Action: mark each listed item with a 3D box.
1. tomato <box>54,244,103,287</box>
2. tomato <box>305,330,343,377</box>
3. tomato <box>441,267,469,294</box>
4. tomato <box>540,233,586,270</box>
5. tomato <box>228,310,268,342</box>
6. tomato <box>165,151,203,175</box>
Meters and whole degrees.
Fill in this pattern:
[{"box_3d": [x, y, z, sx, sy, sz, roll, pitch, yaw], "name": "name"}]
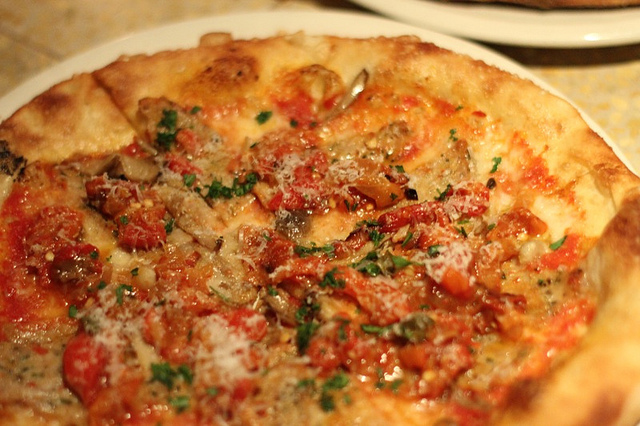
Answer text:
[{"box_3d": [-1.697, 0.352, 4.874, 0.288, 0.090, 0.301, 14, 67, -7], "name": "tomato"}, {"box_3d": [0.014, 0.908, 4.500, 0.213, 0.159, 0.259, -8, 72, -3], "name": "tomato"}, {"box_3d": [0.908, 0.458, 4.671, 0.179, 0.050, 0.140, 26, 82, 6], "name": "tomato"}, {"box_3d": [1.697, 0.262, 4.826, 0.354, 0.048, 0.132, -36, 81, -5], "name": "tomato"}, {"box_3d": [-0.469, 0.732, 4.588, 0.232, 0.222, 0.178, 24, 82, 6], "name": "tomato"}, {"box_3d": [-1.027, -0.354, 5.144, 0.229, 0.070, 0.155, 30, 66, -6], "name": "tomato"}]
